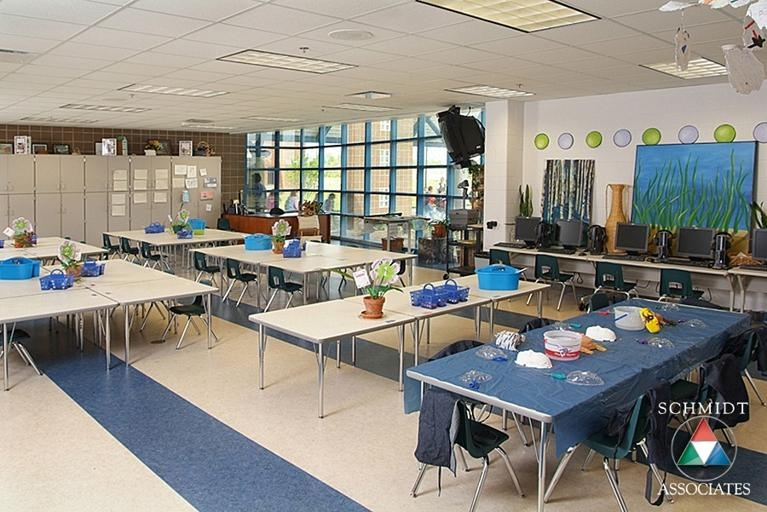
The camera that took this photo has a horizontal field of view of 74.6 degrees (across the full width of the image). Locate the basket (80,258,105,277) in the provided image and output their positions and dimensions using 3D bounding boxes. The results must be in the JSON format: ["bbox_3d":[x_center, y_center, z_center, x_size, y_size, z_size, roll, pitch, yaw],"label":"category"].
[{"bbox_3d":[-4.125,0.180,7.215,0.278,0.224,0.253,1,-1,-10],"label":"basket"}]

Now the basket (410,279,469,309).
[{"bbox_3d":[0.665,0.425,5.753,0.336,0.191,0.537,1,2,45],"label":"basket"}]

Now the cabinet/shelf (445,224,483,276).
[{"bbox_3d":[1.697,-0.138,10.649,0.444,1.038,1.241,-2,5,-32],"label":"cabinet/shelf"}]

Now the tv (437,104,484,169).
[{"bbox_3d":[1.493,-2.283,9.625,0.973,1.157,0.387,-10,11,-41],"label":"tv"}]

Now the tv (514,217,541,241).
[{"bbox_3d":[2.727,-0.511,9.560,0.508,0.440,0.179,3,-3,36],"label":"tv"}]

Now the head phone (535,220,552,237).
[{"bbox_3d":[3.009,-0.524,9.494,0.274,0.312,0.347,8,9,24],"label":"head phone"}]

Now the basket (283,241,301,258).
[{"bbox_3d":[-1.592,-0.122,8.741,0.301,0.283,0.165,-4,8,-8],"label":"basket"}]

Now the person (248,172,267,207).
[{"bbox_3d":[-4.018,-2.104,16.182,0.532,1.143,0.117,-4,9,-4],"label":"person"}]

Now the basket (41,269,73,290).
[{"bbox_3d":[-4.194,0.300,6.458,0.304,0.170,0.285,0,1,17],"label":"basket"}]

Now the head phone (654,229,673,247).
[{"bbox_3d":[4.557,-0.291,8.262,0.308,0.251,0.297,3,4,29],"label":"head phone"}]

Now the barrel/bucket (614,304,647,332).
[{"bbox_3d":[2.458,0.632,5.086,0.227,0.145,0.269,-2,-1,-23],"label":"barrel/bucket"}]

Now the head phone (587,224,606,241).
[{"bbox_3d":[3.719,-0.401,8.948,0.275,0.231,0.271,0,-1,-3],"label":"head phone"}]

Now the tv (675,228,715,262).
[{"bbox_3d":[4.840,-0.205,7.965,0.569,0.469,0.183,7,-6,-1],"label":"tv"}]

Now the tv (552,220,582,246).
[{"bbox_3d":[3.343,-0.418,9.177,0.498,0.429,0.175,7,13,38],"label":"tv"}]

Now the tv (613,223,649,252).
[{"bbox_3d":[4.158,-0.312,8.476,0.546,0.474,0.193,3,-4,39],"label":"tv"}]

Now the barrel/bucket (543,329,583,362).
[{"bbox_3d":[1.506,0.768,4.353,0.269,0.134,0.259,0,2,0],"label":"barrel/bucket"}]

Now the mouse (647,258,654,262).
[{"bbox_3d":[4.265,0.070,8.087,0.109,0.034,0.075,-3,5,-42],"label":"mouse"}]

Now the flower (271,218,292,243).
[{"bbox_3d":[-1.870,-0.464,9.168,0.295,0.368,0.312,-5,8,-14],"label":"flower"}]

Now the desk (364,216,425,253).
[{"bbox_3d":[0.372,-0.630,13.165,1.052,0.599,0.908,-11,4,7],"label":"desk"}]
